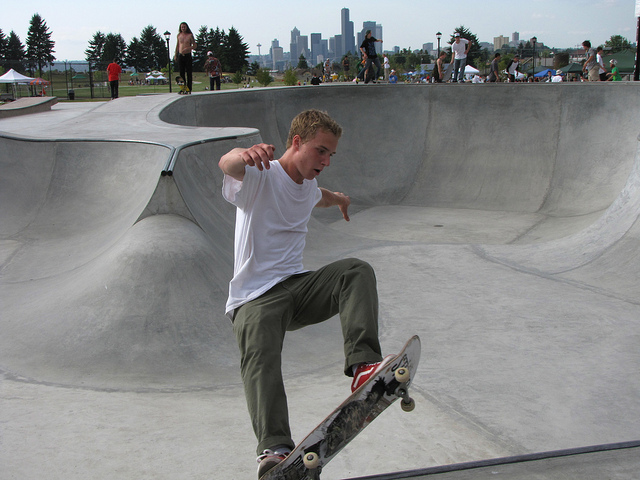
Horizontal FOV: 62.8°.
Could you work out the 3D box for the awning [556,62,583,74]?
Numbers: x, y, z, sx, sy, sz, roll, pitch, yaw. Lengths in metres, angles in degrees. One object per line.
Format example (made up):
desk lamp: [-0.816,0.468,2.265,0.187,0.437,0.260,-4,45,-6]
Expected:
awning: [16.274,-11.124,33.998,0.918,0.817,4.586,4,15,20]

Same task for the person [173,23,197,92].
person: [-3.307,-4.507,12.955,0.543,1.482,2.362,-5,15,-13]

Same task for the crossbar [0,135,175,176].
crossbar: [-2.829,-1.154,6.784,3.666,0.373,0.826,9,17,35]

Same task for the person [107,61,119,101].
person: [-6.502,-5.085,16.642,0.303,1.219,2.089,-7,15,-20]
